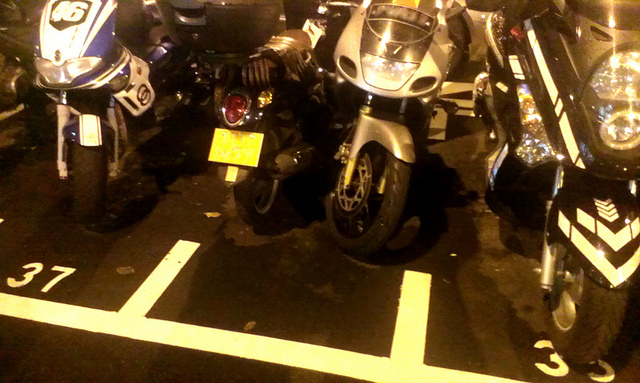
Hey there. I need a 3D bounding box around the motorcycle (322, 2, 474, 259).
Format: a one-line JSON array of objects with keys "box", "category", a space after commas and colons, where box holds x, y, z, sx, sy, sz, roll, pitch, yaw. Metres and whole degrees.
[{"box": [0.636, -0.646, 5.105, 1.145, 2.536, 1.845, 13, 37, 11], "category": "motorcycle"}]
